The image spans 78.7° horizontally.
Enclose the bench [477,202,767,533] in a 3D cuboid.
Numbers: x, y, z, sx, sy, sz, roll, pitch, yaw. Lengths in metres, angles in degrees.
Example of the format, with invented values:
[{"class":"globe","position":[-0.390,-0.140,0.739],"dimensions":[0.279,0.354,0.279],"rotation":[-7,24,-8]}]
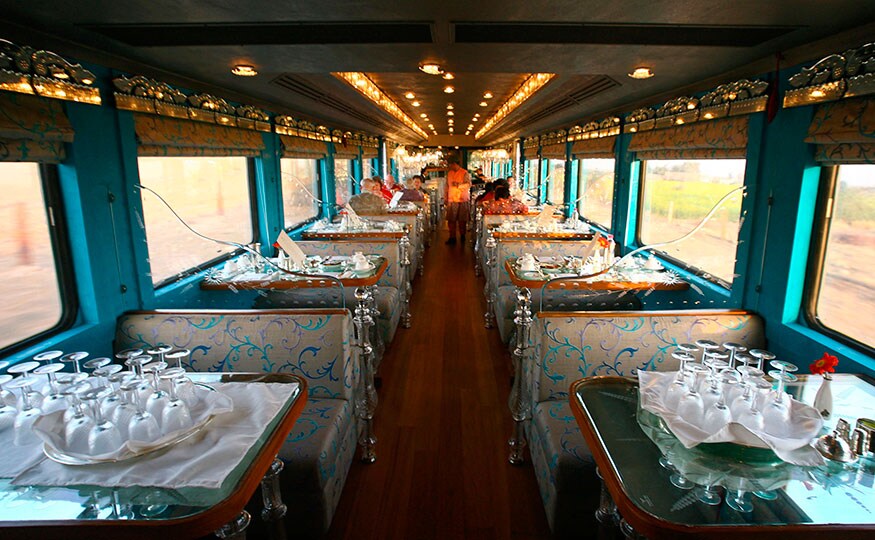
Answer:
[{"class":"bench","position":[1.243,0.660,3.745],"dimensions":[2.375,1.297,1.498],"rotation":[-2,21,-1]}]

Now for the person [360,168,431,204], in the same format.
[{"class":"person","position":[-0.766,-1.535,10.171],"dimensions":[1.199,0.926,0.828],"rotation":[0,22,0]}]

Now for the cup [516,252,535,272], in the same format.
[{"class":"cup","position":[0.847,-0.065,4.966],"dimensions":[0.187,0.151,0.142],"rotation":[2,11,19]}]
